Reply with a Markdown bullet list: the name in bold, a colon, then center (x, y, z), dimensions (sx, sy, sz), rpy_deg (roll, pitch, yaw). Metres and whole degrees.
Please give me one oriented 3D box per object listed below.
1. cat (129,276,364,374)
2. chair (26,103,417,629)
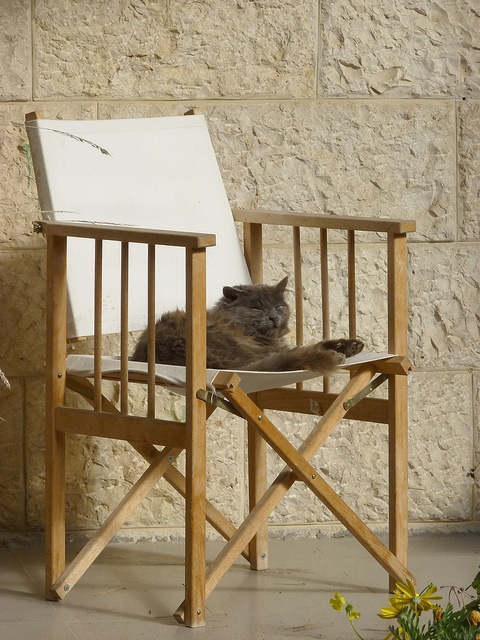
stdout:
- **cat**: center (-0.001, 0.000, 1.883), dimensions (0.419, 0.188, 0.506), rpy_deg (0, 0, -10)
- **chair**: center (-0.039, 0.068, 1.945), dimensions (0.725, 0.984, 0.758), rpy_deg (4, 8, 29)
